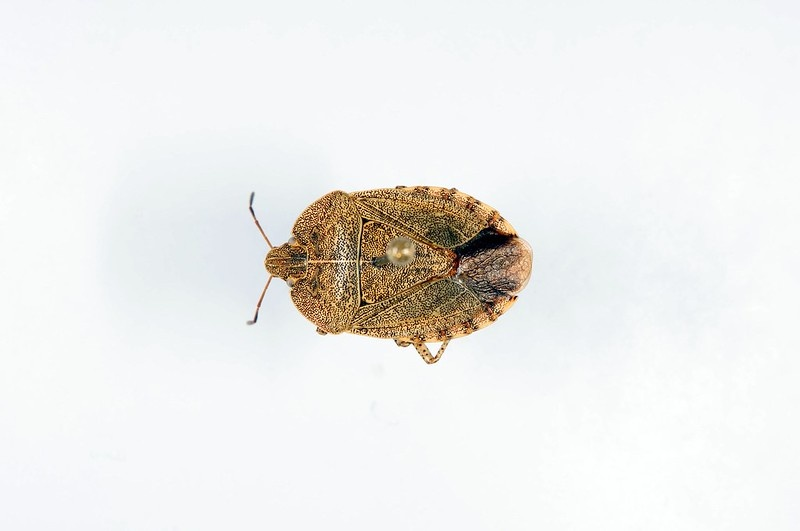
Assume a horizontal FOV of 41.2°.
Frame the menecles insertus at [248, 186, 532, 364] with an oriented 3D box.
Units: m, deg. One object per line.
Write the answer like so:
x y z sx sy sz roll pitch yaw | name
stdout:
0.015 -0.034 15.096 3.271 0.658 2.040 0 -76 0 | menecles insertus
